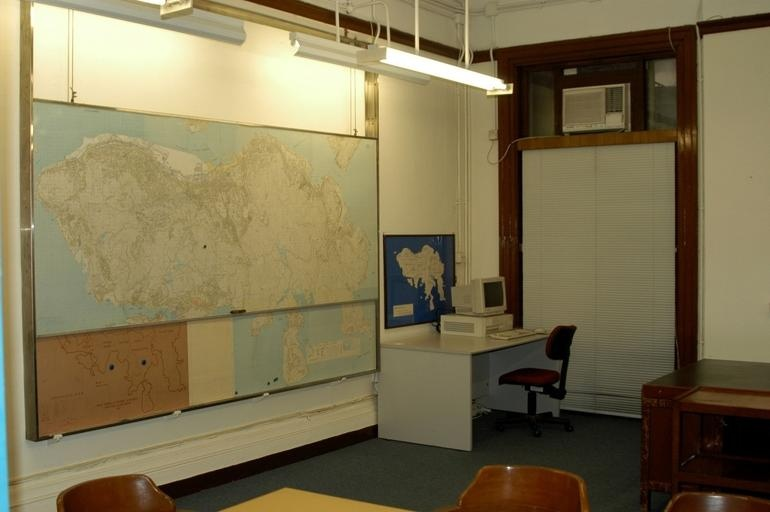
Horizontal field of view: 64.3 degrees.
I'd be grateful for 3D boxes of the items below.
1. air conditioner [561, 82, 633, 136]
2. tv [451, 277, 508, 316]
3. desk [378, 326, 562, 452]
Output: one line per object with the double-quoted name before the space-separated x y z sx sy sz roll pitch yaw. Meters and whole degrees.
"air conditioner" 2.573 -1.760 7.401 0.887 0.607 0.544 1 0 25
"tv" 1.142 0.481 7.282 0.491 0.362 0.506 1 2 40
"desk" 0.775 1.400 6.923 1.187 0.959 1.896 0 0 33
